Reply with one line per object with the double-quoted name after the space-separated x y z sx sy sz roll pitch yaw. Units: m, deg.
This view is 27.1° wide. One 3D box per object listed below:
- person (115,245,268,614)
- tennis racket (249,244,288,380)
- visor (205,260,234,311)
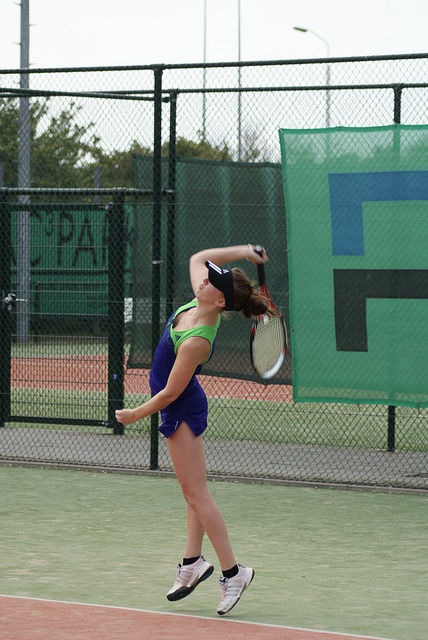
-0.068 0.449 3.823 0.592 1.609 0.743 0 0 3 "person"
0.224 -0.053 3.873 0.174 0.660 0.055 -14 -30 20 "tennis racket"
0.021 -0.142 3.642 0.109 0.206 0.214 0 0 -1 "visor"
